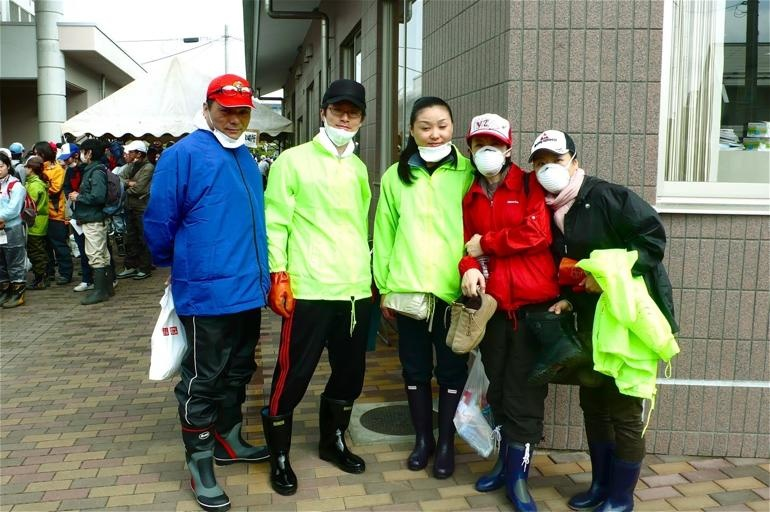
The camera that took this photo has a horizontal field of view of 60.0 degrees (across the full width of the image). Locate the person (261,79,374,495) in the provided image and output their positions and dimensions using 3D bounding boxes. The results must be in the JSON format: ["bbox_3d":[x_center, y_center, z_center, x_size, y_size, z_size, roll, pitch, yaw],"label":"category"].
[{"bbox_3d":[-0.465,0.204,4.766,0.845,2.861,0.660,-2,12,-11],"label":"person"}]

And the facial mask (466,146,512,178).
[{"bbox_3d":[0.750,-0.660,4.652,0.232,0.220,0.231,2,12,7],"label":"facial mask"}]

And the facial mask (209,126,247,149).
[{"bbox_3d":[-1.097,-0.818,4.650,0.153,0.062,0.156,40,20,26],"label":"facial mask"}]

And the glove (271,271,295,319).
[{"bbox_3d":[-0.703,0.273,4.711,0.188,0.294,0.100,-4,2,26],"label":"glove"}]

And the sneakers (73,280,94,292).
[{"bbox_3d":[-4.530,0.456,10.120,0.137,0.142,0.388,4,4,36],"label":"sneakers"}]

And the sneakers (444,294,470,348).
[{"bbox_3d":[0.544,0.466,4.567,0.149,0.328,0.182,11,-6,-44],"label":"sneakers"}]

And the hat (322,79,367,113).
[{"bbox_3d":[-0.279,-1.150,4.769,0.304,0.221,0.179,-1,12,-8],"label":"hat"}]

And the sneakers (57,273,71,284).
[{"bbox_3d":[-5.086,0.372,10.590,0.121,0.103,0.253,1,0,-7],"label":"sneakers"}]

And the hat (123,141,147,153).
[{"bbox_3d":[-4.012,-1.762,10.712,0.293,0.157,0.413,-6,12,-33],"label":"hat"}]

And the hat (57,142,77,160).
[{"bbox_3d":[-4.736,-1.580,10.090,0.215,0.170,0.333,9,16,40],"label":"hat"}]

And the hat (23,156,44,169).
[{"bbox_3d":[-5.143,-1.373,9.788,0.201,0.173,0.362,0,12,-1],"label":"hat"}]

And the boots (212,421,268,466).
[{"bbox_3d":[-1.131,1.426,5.194,0.504,0.343,0.215,-2,7,-15],"label":"boots"}]

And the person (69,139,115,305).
[{"bbox_3d":[-4.033,-0.319,9.253,0.488,1.905,0.553,-5,13,-22],"label":"person"}]

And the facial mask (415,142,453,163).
[{"bbox_3d":[0.385,-0.749,4.809,0.243,0.149,0.140,1,12,1],"label":"facial mask"}]

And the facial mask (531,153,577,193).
[{"bbox_3d":[1.139,-0.567,4.453,0.264,0.155,0.268,-3,14,22],"label":"facial mask"}]

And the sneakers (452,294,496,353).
[{"bbox_3d":[0.601,0.446,4.584,0.288,0.403,0.225,11,16,41],"label":"sneakers"}]

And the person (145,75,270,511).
[{"bbox_3d":[-1.150,0.217,4.685,0.634,2.897,0.758,11,16,42],"label":"person"}]

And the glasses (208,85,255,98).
[{"bbox_3d":[-1.041,-1.137,4.581,0.278,0.073,0.127,-3,13,-17],"label":"glasses"}]

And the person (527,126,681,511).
[{"bbox_3d":[1.488,0.472,4.498,0.940,2.555,0.496,5,13,19],"label":"person"}]
